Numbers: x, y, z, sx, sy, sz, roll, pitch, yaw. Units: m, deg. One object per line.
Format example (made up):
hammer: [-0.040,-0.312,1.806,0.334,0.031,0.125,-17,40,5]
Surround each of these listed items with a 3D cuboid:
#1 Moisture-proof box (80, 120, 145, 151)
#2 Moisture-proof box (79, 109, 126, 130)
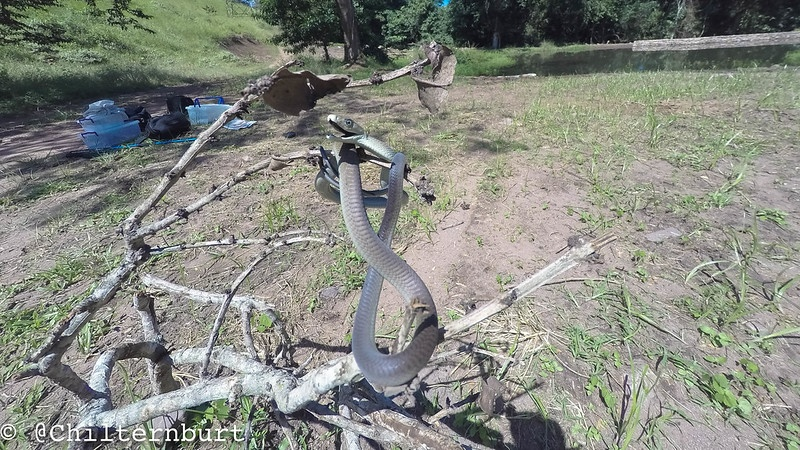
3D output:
Moisture-proof box: [-8.566,-2.643,13.383,1.345,0.520,0.967,-23,37,-3]
Moisture-proof box: [-8.815,-3.129,13.480,0.648,0.480,1.102,25,40,31]
